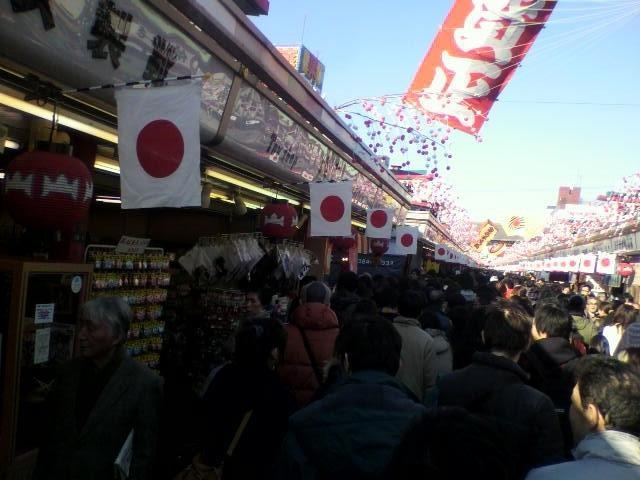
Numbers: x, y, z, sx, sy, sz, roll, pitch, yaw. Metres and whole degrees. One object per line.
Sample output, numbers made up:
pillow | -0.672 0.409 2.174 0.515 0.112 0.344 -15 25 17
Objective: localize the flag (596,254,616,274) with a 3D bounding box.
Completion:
flag | 10.007 0.805 13.202 0.534 0.744 0.488 6 -3 36

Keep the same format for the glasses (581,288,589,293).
glasses | 7.055 1.378 10.037 0.154 0.044 0.153 12 35 29

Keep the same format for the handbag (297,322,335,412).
handbag | -0.031 1.036 3.046 0.443 0.661 0.617 2 -5 2

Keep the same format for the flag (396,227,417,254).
flag | 2.698 -0.022 11.778 0.827 1.133 0.081 0 -4 1

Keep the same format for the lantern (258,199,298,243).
lantern | -0.658 -0.335 5.507 0.587 0.609 0.613 3 1 20

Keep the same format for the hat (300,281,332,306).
hat | -0.042 0.550 3.903 0.189 0.162 0.294 3 4 4

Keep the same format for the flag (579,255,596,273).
flag | 9.735 0.825 13.699 0.265 0.664 0.912 7 -2 13

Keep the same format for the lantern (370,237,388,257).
lantern | 1.715 0.191 11.035 0.493 0.471 0.469 -1 13 -20

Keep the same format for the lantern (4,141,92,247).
lantern | -1.811 -0.335 2.600 0.544 0.577 0.557 2 4 -29

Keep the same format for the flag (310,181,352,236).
flag | 0.164 -0.471 5.479 0.764 1.018 0.051 -1 -7 7

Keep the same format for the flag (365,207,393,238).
flag | 1.421 -0.448 9.144 0.875 1.020 0.053 0 -5 22

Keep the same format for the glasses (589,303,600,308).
glasses | 5.869 1.420 8.123 0.091 0.065 0.118 2 -18 -4
